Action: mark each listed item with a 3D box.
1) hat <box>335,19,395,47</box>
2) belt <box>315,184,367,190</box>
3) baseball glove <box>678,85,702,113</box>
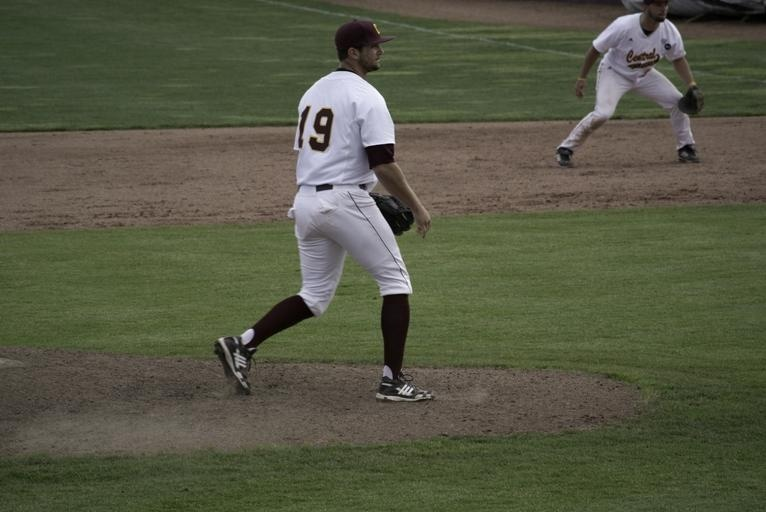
[{"bbox_3d":[-0.181,-2.121,13.344,0.484,0.161,0.286,-8,21,-4],"label":"hat"},{"bbox_3d":[-0.383,-0.654,13.215,0.487,0.076,0.058,0,18,-5],"label":"belt"},{"bbox_3d":[3.981,-2.036,18.071,0.312,0.398,0.292,0,18,-3],"label":"baseball glove"}]
